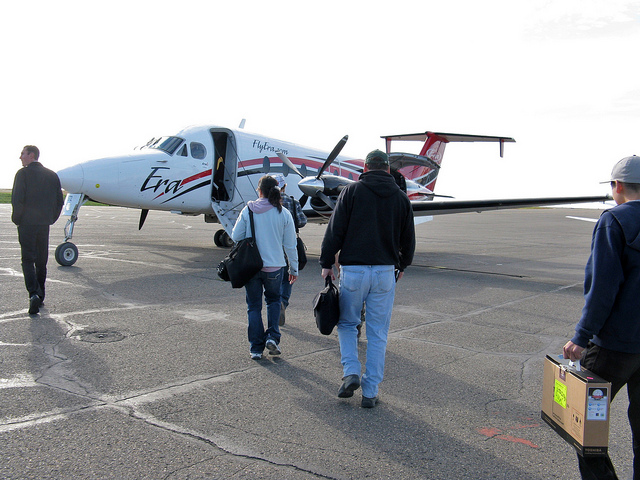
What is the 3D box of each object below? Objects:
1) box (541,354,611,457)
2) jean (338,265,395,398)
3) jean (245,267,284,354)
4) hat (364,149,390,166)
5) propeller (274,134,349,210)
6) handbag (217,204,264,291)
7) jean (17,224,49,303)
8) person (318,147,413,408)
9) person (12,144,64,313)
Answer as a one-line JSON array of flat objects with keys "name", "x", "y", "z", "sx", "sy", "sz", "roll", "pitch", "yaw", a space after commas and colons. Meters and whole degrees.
[{"name": "box", "x": 1.557, "y": 0.997, "z": 2.898, "sx": 0.194, "sy": 0.476, "sz": 0.444, "roll": 2, "pitch": 8, "yaw": -7}, {"name": "jean", "x": 0.391, "y": 0.796, "z": 4.264, "sx": 0.509, "sy": 1.165, "sz": 0.464, "roll": 4, "pitch": 8, "yaw": 5}, {"name": "jean", "x": -0.626, "y": 0.735, "z": 5.242, "sx": 0.465, "sy": 1.002, "sz": 0.372, "roll": -1, "pitch": 6, "yaw": -25}, {"name": "hat", "x": 0.544, "y": -0.754, "z": 4.353, "sx": 0.223, "sy": 0.129, "sz": 0.149, "roll": 2, "pitch": 7, "yaw": -6}, {"name": "propeller", "x": -0.399, "y": -1.697, "z": 12.211, "sx": 2.033, "sy": 1.814, "sz": 3.472, "roll": 3, "pitch": 7, "yaw": 2}, {"name": "handbag", "x": -0.826, "y": 0.084, "z": 5.084, "sx": 0.401, "sy": 0.921, "sz": 0.449, "roll": -3, "pitch": 10, "yaw": -35}, {"name": "jean", "x": -3.969, "y": 0.229, "z": 6.443, "sx": 0.330, "sy": 1.136, "sz": 0.431, "roll": 1, "pitch": -4, "yaw": 15}, {"name": "person", "x": 0.389, "y": 0.314, "z": 4.320, "sx": 0.762, "sy": 2.257, "sz": 0.698, "roll": 6, "pitch": 9, "yaw": 20}, {"name": "person", "x": -3.889, "y": -0.220, "z": 6.460, "sx": 0.487, "sy": 2.095, "sz": 0.805, "roll": 1, "pitch": 9, "yaw": -13}]
